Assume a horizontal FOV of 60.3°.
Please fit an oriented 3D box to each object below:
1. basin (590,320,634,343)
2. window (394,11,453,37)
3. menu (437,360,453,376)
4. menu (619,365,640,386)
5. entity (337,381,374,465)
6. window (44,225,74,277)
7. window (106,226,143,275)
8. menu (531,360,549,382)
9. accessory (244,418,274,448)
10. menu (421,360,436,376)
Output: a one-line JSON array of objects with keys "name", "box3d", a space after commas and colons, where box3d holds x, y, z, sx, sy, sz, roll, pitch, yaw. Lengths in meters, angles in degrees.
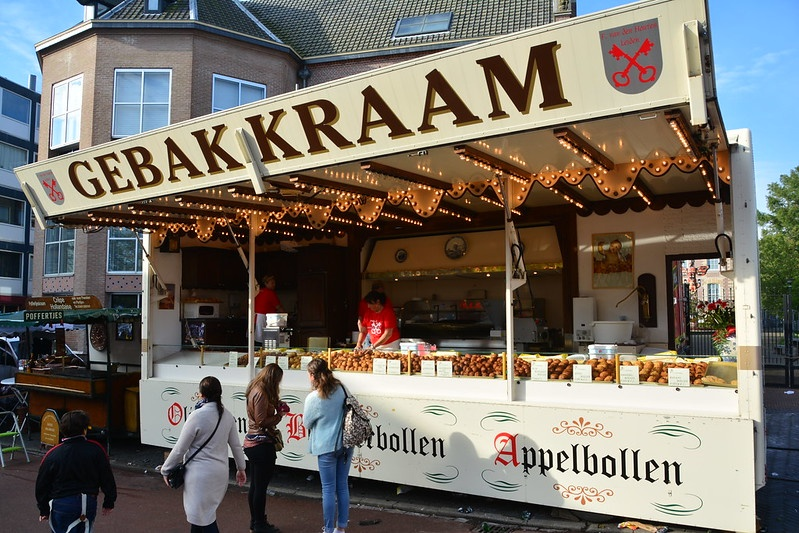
[{"name": "basin", "box3d": [3.519, 1.074, 11.543, 0.531, 0.252, 0.369, 1, -3, 31]}, {"name": "window", "box3d": [0.829, -7.872, 22.443, 1.818, 1.073, 0.128, 3, -40, 19]}, {"name": "menu", "box3d": [0.623, 1.411, 9.556, 0.219, 0.187, 0.030, 1, -9, 18]}, {"name": "menu", "box3d": [2.879, 1.370, 8.673, 0.261, 0.236, 0.135, -1, 0, 20]}, {"name": "entity", "box3d": [-0.534, 1.852, 8.503, 0.352, 0.792, 0.228, -1, -5, -2]}, {"name": "window", "box3d": [-10.930, -0.456, 22.309, 1.730, 1.884, 0.140, -1, -4, 32]}, {"name": "window", "box3d": [-7.968, -0.401, 20.053, 1.497, 1.863, 0.089, -1, -5, -1]}, {"name": "menu", "box3d": [1.834, 1.377, 9.065, 0.257, 0.269, 0.039, -2, -14, 31]}, {"name": "accessory", "box3d": [-1.780, 2.125, 8.749, 0.400, 0.266, 0.288, -7, -11, 39]}, {"name": "menu", "box3d": [0.401, 1.410, 9.637, 0.227, 0.212, 0.024, 0, -11, 27]}]
